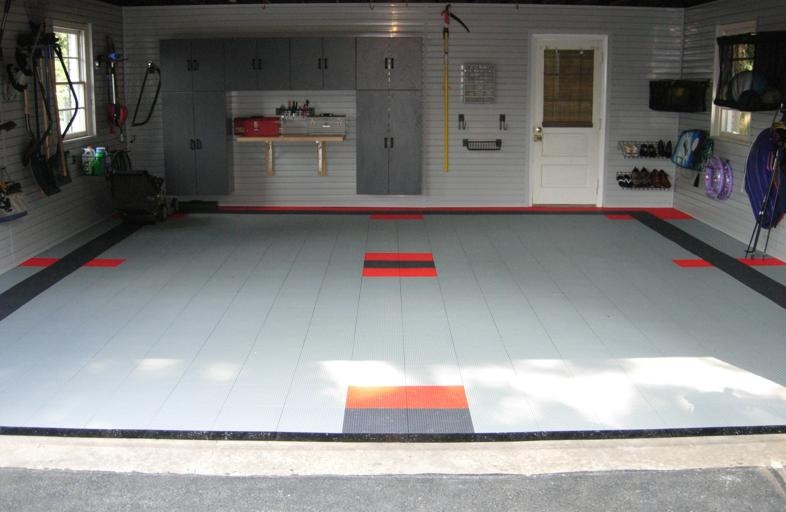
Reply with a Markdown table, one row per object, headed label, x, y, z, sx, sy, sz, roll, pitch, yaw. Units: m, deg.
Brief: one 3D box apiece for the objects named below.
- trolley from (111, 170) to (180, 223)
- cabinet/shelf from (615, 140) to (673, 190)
| label | x | y | z | sx | sy | sz | roll | pitch | yaw |
| --- | --- | --- | --- | --- | --- | --- | --- | --- | --- |
| trolley | -4.902 | -1.179 | 9.152 | 0.903 | 0.779 | 1.382 | 0 | 11 | 2 |
| cabinet/shelf | 5.363 | -2.137 | 10.151 | 0.932 | 0.587 | 0.734 | 1 | 43 | 21 |
